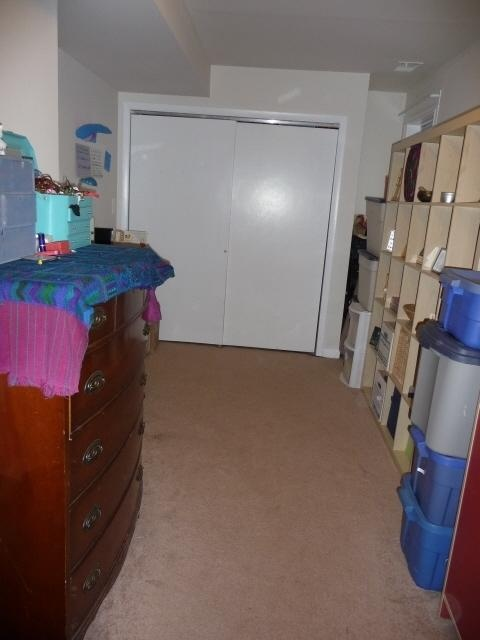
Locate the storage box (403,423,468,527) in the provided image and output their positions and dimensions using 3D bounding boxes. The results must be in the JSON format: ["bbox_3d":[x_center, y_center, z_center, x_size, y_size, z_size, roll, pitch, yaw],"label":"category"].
[{"bbox_3d":[0.663,0.534,1.580,0.170,0.277,0.246,3,6,3],"label":"storage box"}]

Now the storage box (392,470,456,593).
[{"bbox_3d":[0.643,0.768,1.601,0.174,0.227,0.273,2,9,5],"label":"storage box"}]
